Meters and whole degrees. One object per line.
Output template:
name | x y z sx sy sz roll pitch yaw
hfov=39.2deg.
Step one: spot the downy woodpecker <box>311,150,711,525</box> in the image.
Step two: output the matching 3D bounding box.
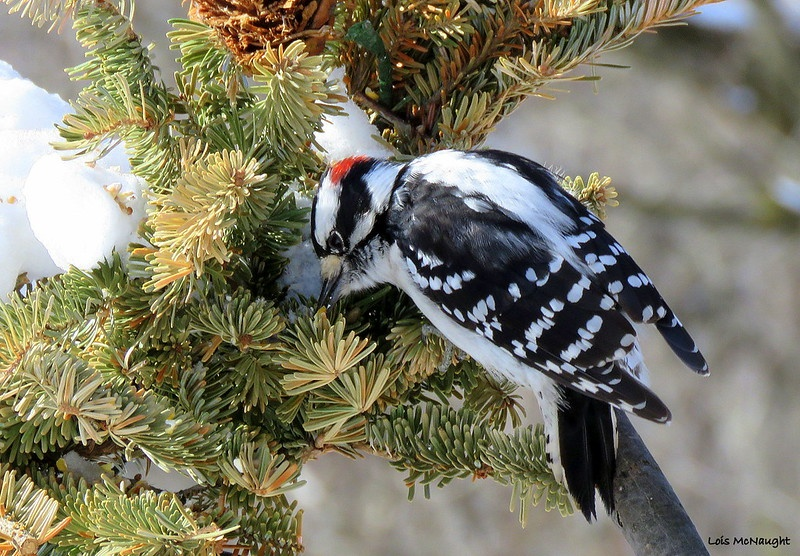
downy woodpecker | 0.365 -0.101 3.319 1.273 1.006 0.674 20 38 17
